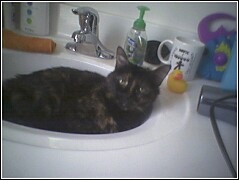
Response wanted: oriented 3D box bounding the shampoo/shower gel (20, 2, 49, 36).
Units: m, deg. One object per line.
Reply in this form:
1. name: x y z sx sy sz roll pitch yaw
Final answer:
1. shampoo/shower gel: -0.360 -0.302 0.813 0.116 0.138 0.050 3 21 -16

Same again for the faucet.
1. faucet: -0.126 -0.248 0.857 0.204 0.209 0.157 -14 31 -24

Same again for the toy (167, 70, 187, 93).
1. toy: 0.196 -0.028 0.668 0.058 0.077 0.065 -1 25 -12

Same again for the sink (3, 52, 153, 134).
1. sink: -0.145 0.031 0.712 0.385 0.297 0.348 -7 30 -12

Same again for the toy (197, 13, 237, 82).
1. toy: 0.362 -0.169 0.753 0.137 0.251 0.039 15 21 19

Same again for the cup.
1. cup: 0.256 -0.104 0.811 0.131 0.201 0.195 -11 38 -32

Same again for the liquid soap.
1. liquid soap: 0.057 -0.215 0.760 0.086 0.200 0.106 -21 39 -35

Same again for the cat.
1. cat: -0.132 0.041 0.772 0.665 0.364 0.246 3 -20 19

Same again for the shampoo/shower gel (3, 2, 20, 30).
1. shampoo/shower gel: -0.465 -0.318 0.823 0.090 0.113 0.029 10 20 3
